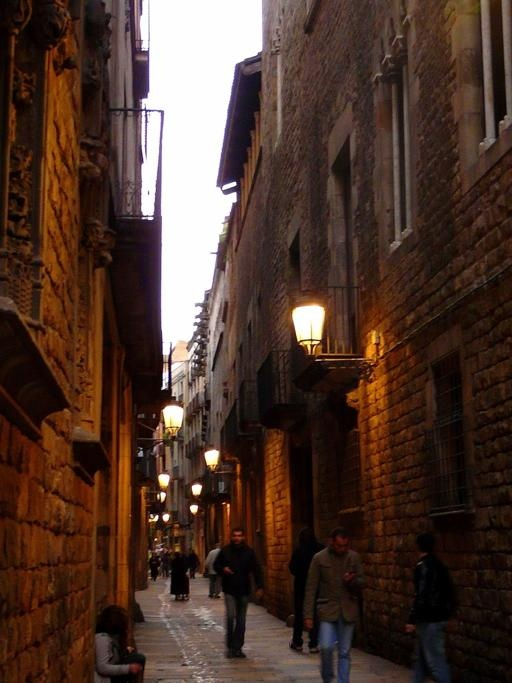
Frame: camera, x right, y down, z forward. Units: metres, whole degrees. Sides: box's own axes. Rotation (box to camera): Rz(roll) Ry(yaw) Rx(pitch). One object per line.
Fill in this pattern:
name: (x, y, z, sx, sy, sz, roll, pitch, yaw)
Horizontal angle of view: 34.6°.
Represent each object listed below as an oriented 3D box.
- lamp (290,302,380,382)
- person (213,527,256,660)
lamp: (0.744, -0.052, 9.525, 0.334, 0.723, 1.193, -4, 2, 28)
person: (-0.229, 3.145, 10.248, 0.541, 1.535, 1.076, 0, -18, -2)
